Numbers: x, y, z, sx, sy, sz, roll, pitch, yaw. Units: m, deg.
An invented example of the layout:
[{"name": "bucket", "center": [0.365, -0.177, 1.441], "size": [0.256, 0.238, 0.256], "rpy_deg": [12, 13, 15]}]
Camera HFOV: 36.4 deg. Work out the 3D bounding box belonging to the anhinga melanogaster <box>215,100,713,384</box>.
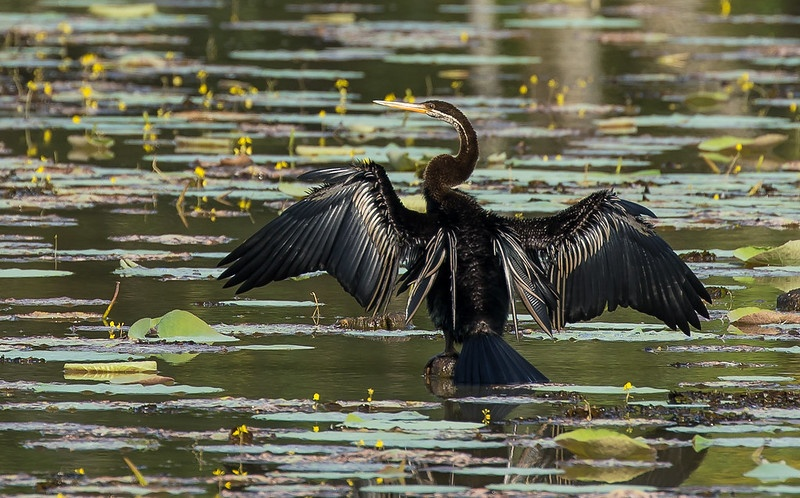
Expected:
[{"name": "anhinga melanogaster", "center": [0.510, -0.084, 9.718], "size": [3.240, 2.165, 1.369], "rpy_deg": [0, 5, 16]}]
